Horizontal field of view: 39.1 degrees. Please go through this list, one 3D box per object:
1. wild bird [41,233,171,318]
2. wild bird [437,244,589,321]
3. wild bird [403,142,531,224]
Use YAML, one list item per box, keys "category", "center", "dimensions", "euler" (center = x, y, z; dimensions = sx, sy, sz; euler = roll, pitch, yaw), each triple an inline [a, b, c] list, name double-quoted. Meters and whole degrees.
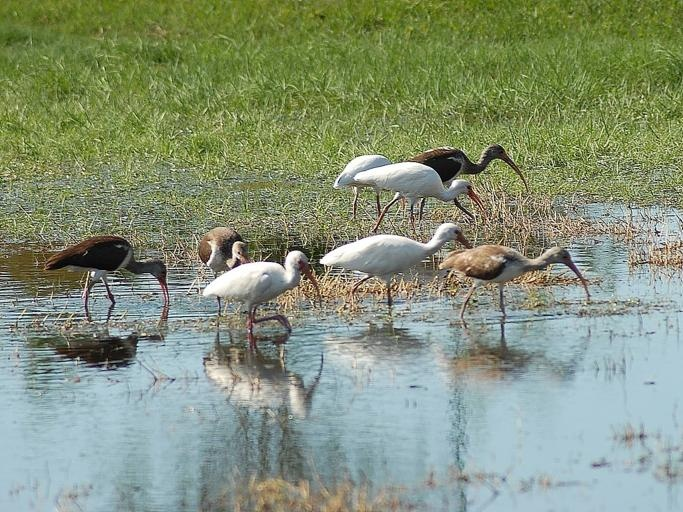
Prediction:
- category: "wild bird"
  center: [-2.704, 0.212, 11.177]
  dimensions: [1.505, 0.823, 0.350]
  euler: [5, -4, -39]
- category: "wild bird"
  center: [1.869, 0.282, 10.389]
  dimensions: [1.595, 0.764, 0.467]
  euler: [4, 10, 31]
- category: "wild bird"
  center: [1.654, -1.289, 15.386]
  dimensions: [2.951, 1.189, 0.607]
  euler: [6, 15, -22]
